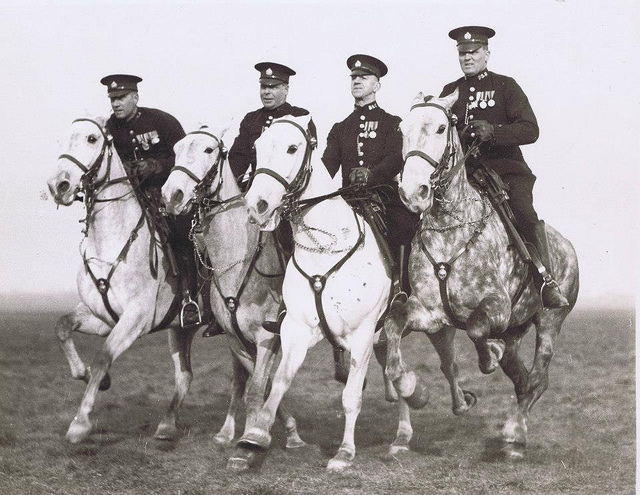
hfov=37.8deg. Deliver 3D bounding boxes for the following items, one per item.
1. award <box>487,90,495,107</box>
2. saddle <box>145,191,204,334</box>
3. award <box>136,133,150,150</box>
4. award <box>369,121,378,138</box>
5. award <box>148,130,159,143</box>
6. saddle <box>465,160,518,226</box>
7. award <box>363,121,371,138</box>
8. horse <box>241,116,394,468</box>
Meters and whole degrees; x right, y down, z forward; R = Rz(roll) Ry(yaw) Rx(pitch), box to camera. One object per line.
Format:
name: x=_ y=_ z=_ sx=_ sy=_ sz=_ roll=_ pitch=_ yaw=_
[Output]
award: x=1.487 y=-1.295 z=8.097 sx=0.066 sy=0.130 sz=0.094 roll=5 pitch=15 yaw=6
saddle: x=-1.334 y=0.115 z=8.453 sx=0.459 sy=1.280 sz=0.110 roll=-13 pitch=17 yaw=-25
award: x=-1.634 y=-0.975 z=8.638 sx=0.089 sy=0.152 sz=0.042 roll=-25 pitch=-9 yaw=12
award: x=0.470 y=-1.029 z=8.159 sx=0.066 sy=0.136 sz=0.077 roll=4 pitch=15 yaw=3
award: x=-1.521 y=-1.021 z=8.620 sx=0.089 sy=0.104 sz=0.131 roll=-5 pitch=17 yaw=-27
saddle: x=1.434 y=-0.433 z=7.854 sx=0.135 sy=0.545 sz=0.218 roll=-34 pitch=-11 yaw=-10
award: x=0.412 y=-1.029 z=8.174 sx=0.060 sy=0.139 sz=0.027 roll=7 pitch=-1 yaw=16
horse: x=0.142 y=0.457 z=8.501 sx=1.164 sy=3.036 sz=4.146 roll=-3 pitch=-3 yaw=9
